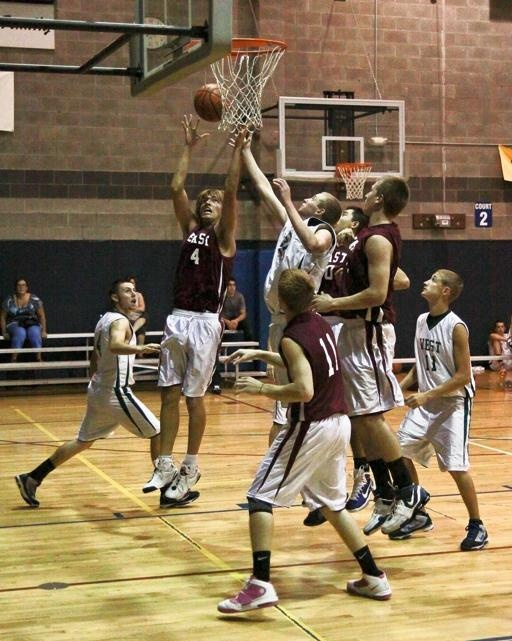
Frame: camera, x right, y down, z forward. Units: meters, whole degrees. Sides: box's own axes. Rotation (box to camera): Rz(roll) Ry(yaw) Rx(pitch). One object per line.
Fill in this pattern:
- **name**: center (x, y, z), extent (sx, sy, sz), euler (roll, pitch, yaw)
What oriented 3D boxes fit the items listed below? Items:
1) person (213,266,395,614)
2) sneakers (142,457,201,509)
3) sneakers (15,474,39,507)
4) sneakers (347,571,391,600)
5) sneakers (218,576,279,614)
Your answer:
- **person**: center (0.164, 0.425, 2.676), extent (0.635, 1.220, 0.383), euler (2, -2, -42)
- **sneakers**: center (-0.471, 0.926, 4.223), extent (0.172, 0.228, 0.485), euler (22, 9, 19)
- **sneakers**: center (-1.309, 0.965, 4.242), extent (0.123, 0.189, 0.192), euler (0, -1, -12)
- **sneakers**: center (0.407, 0.980, 2.799), extent (0.211, 0.091, 0.072), euler (2, 4, 44)
- **sneakers**: center (-0.019, 0.947, 2.587), extent (0.271, 0.140, 0.091), euler (-7, -11, 1)
